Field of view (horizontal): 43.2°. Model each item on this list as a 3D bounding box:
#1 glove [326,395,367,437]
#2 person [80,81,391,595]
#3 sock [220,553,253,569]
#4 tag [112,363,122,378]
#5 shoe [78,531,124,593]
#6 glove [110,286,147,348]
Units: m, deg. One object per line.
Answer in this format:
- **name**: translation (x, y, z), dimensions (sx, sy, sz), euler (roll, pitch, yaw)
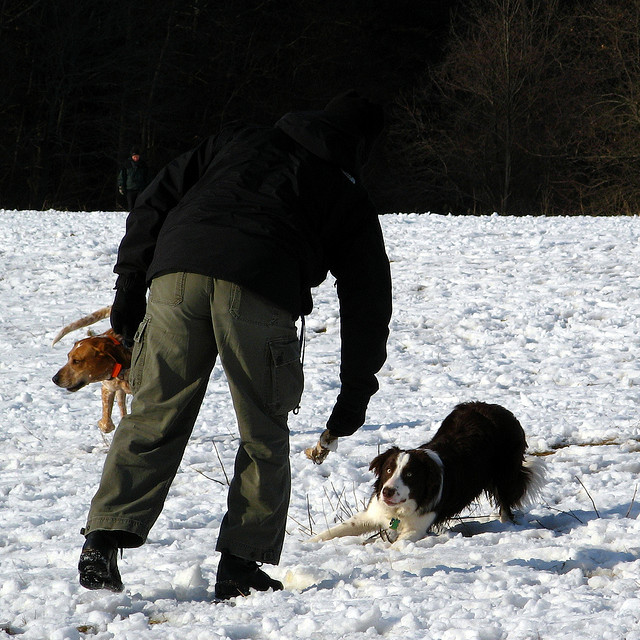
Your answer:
- **glove**: translation (0.141, 0.494, 4.176), dimensions (0.193, 0.232, 0.198), euler (-2, -1, -1)
- **person**: translation (-0.345, 0.056, 3.786), dimensions (1.423, 2.452, 0.702), euler (-2, -2, -6)
- **sock**: translation (-0.377, 1.102, 3.688), dimensions (0.108, 0.037, 0.078), euler (33, -23, -23)
- **tag**: translation (-1.718, 0.427, 6.905), dimensions (0.026, 0.097, 0.105), euler (17, -7, -26)
- **shoe**: translation (-0.923, 1.039, 3.425), dimensions (0.129, 0.274, 0.194), euler (-2, -2, 16)
- **glove**: translation (-0.912, -0.016, 3.944), dimensions (0.169, 0.299, 0.269), euler (-1, -2, -40)
